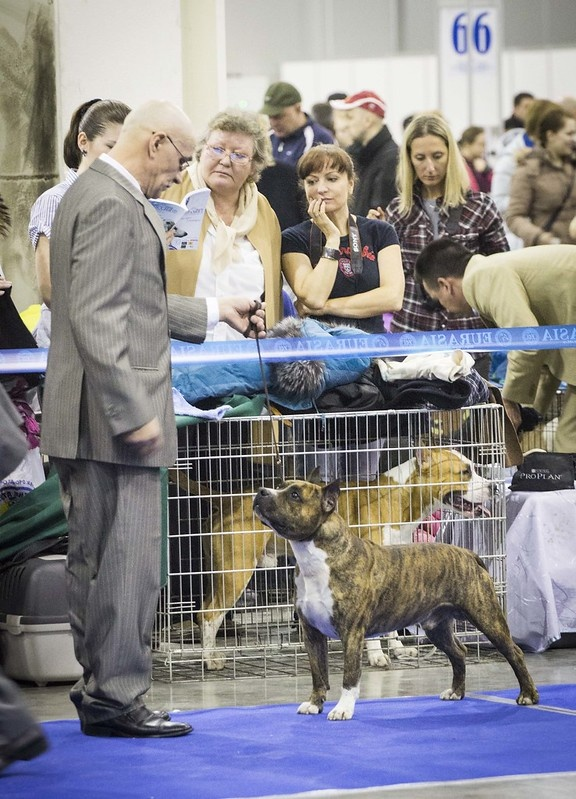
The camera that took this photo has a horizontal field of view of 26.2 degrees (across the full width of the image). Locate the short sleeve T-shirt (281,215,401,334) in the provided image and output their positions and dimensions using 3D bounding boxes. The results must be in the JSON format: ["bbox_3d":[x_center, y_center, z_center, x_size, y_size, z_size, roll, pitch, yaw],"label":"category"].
[{"bbox_3d":[0.224,-0.557,5.662,0.507,0.526,0.276,0,-15,-23],"label":"short sleeve T-shirt"}]

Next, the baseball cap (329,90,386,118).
[{"bbox_3d":[0.374,-1.539,6.436,0.232,0.098,0.153,8,0,-9],"label":"baseball cap"}]

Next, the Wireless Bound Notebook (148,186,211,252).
[{"bbox_3d":[-0.378,-0.659,4.494,0.092,0.290,0.268,-20,-18,27],"label":"Wireless Bound Notebook"}]

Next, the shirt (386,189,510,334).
[{"bbox_3d":[0.728,-0.720,6.188,0.773,0.449,0.798,2,-32,5],"label":"shirt"}]

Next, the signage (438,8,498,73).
[{"bbox_3d":[1.008,-1.969,6.875,0.356,0.424,0.042,1,-7,-2],"label":"signage"}]

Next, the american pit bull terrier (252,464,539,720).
[{"bbox_3d":[0.337,0.640,3.940,1.019,0.712,0.323,6,-8,-32],"label":"american pit bull terrier"}]

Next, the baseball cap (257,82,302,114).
[{"bbox_3d":[-0.034,-1.552,6.427,0.157,0.127,0.223,-1,5,20],"label":"baseball cap"}]

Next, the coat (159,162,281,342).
[{"bbox_3d":[-0.220,-0.706,5.693,0.402,0.544,0.298,-6,-20,17],"label":"coat"}]
